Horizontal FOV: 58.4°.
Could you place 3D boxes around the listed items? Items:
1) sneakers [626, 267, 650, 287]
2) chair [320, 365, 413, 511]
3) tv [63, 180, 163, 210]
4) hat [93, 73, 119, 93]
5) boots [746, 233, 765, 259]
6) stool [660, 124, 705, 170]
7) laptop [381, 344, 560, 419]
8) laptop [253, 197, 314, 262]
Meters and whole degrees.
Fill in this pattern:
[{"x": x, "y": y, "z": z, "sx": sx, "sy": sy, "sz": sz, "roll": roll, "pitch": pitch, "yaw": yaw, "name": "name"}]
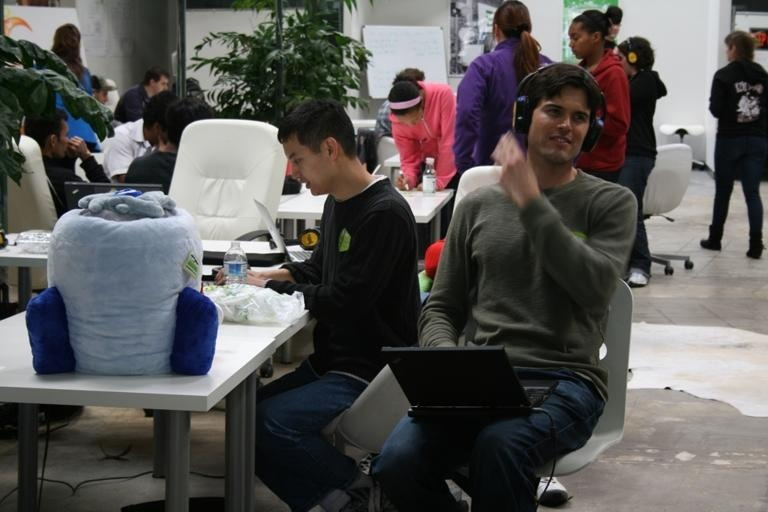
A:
[{"x": 2.177, "y": 0.180, "z": 5.871, "sx": 0.162, "sy": 0.121, "sz": 0.295, "roll": -1, "pitch": -2, "yaw": 11, "name": "sneakers"}, {"x": -0.029, "y": 0.575, "z": 2.526, "sx": 0.349, "sy": 0.404, "sz": 0.311, "roll": 4, "pitch": -4, "yaw": 1, "name": "chair"}, {"x": -1.204, "y": -0.264, "z": 3.015, "sx": 0.235, "sy": 0.114, "sz": 0.736, "roll": -7, "pitch": 11, "yaw": -39, "name": "tv"}, {"x": -2.596, "y": -1.613, "z": 6.387, "sx": 0.226, "sy": 0.083, "sz": 0.145, "roll": 3, "pitch": 22, "yaw": -6, "name": "hat"}, {"x": 3.658, "y": -0.106, "z": 6.773, "sx": 0.140, "sy": 0.224, "sz": 0.223, "roll": 4, "pitch": 10, "yaw": 28, "name": "boots"}, {"x": 5.227, "y": -1.916, "z": 12.019, "sx": 0.801, "sy": 0.762, "sz": 0.800, "roll": -1, "pitch": -2, "yaw": 3, "name": "stool"}, {"x": 0.215, "y": 0.362, "z": 1.996, "sx": 0.309, "sy": 0.196, "sz": 0.289, "roll": -2, "pitch": 18, "yaw": 27, "name": "laptop"}, {"x": -0.472, "y": -0.111, "z": 3.083, "sx": 0.331, "sy": 0.231, "sz": 0.212, "roll": -5, "pitch": 7, "yaw": -13, "name": "laptop"}]
